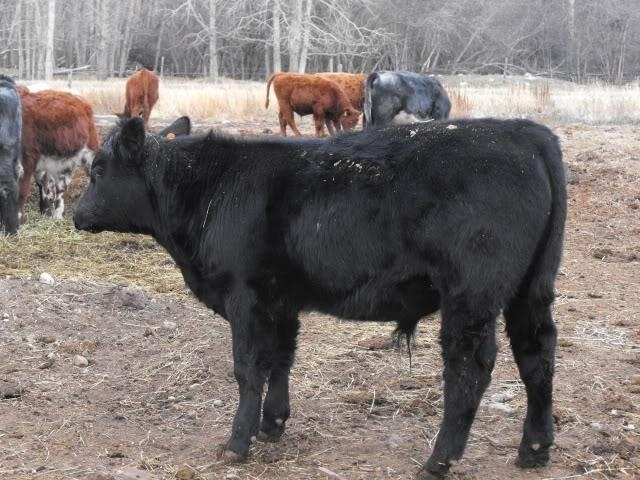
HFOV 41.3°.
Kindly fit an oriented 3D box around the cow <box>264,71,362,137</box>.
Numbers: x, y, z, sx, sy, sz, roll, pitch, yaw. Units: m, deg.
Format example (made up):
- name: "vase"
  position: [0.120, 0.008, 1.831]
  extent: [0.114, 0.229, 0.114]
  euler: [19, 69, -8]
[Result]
- name: "cow"
  position: [-0.108, -2.831, 18.251]
  extent: [2.527, 1.281, 0.605]
  euler: [14, 15, 34]
